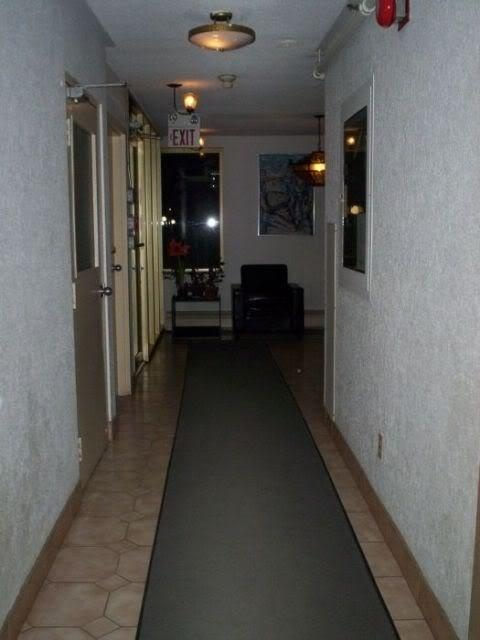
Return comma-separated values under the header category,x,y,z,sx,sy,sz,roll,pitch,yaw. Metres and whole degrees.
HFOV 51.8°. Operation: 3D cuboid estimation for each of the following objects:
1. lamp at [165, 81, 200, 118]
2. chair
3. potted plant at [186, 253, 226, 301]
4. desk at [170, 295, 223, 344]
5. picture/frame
category,x,y,z,sx,sy,sz,roll,pitch,yaw
lamp,-0.572,-2.195,4.946,0.371,0.438,0.325,-2,25,-5
chair,0.413,-0.309,7.751,0.873,1.239,1.075,0,4,0
potted plant,-0.559,-0.713,8.136,0.584,0.925,0.601,-1,0,-6
desk,-0.674,-0.025,7.679,0.819,0.890,0.527,0,3,-4
picture/frame,0.712,-2.069,7.937,0.992,1.817,0.070,0,10,1
